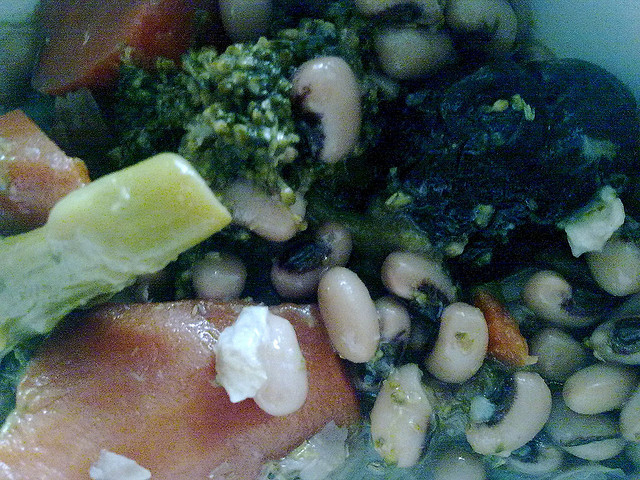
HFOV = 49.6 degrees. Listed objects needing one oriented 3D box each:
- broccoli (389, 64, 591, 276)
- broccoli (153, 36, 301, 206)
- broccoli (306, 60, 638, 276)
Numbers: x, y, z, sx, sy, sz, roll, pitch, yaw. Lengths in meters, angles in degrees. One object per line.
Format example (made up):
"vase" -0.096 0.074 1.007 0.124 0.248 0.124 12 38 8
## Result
"broccoli" 0.284 -0.114 1.112 0.325 0.318 0.095 17 25 -1
"broccoli" -0.144 -0.137 1.170 0.088 0.180 0.244 -22 -37 40
"broccoli" 0.252 -0.127 1.188 0.556 0.290 0.215 -7 -16 -5
